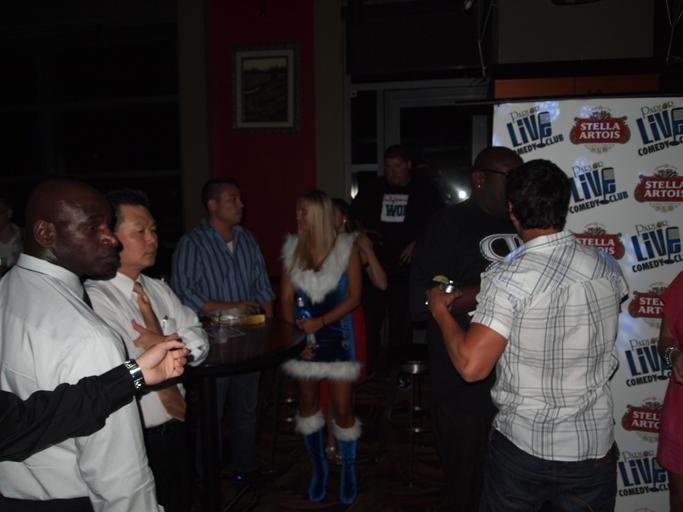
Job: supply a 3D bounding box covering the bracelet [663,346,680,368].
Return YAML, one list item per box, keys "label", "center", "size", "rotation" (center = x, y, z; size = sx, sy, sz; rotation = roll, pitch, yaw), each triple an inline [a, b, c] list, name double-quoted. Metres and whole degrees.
- label: "bracelet"
  center: [1.772, 0.546, 3.044]
  size: [0.071, 0.115, 0.109]
  rotation: [6, 14, 25]

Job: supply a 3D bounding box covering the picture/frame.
- label: "picture/frame"
  center: [-0.861, -1.974, 6.408]
  size: [0.981, 1.180, 0.050]
  rotation: [2, 9, 7]

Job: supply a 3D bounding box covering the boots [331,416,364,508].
- label: "boots"
  center: [0.045, 1.415, 3.835]
  size: [0.169, 0.546, 0.145]
  rotation: [-2, -17, 7]
